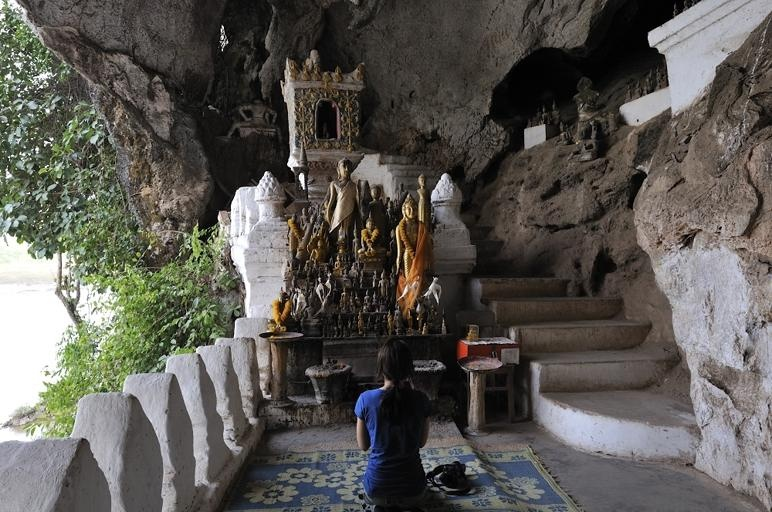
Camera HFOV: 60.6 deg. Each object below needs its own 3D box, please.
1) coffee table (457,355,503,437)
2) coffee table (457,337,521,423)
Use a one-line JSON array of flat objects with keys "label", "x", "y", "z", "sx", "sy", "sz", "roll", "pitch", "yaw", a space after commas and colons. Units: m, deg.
[{"label": "coffee table", "x": 1.147, "y": 1.775, "z": 8.439, "sx": 0.655, "sy": 0.867, "sz": 0.619, "roll": 4, "pitch": -6, "yaw": -25}, {"label": "coffee table", "x": 1.319, "y": 1.641, "z": 8.734, "sx": 0.709, "sy": 0.950, "sz": 0.729, "roll": 0, "pitch": -9, "yaw": -19}]
